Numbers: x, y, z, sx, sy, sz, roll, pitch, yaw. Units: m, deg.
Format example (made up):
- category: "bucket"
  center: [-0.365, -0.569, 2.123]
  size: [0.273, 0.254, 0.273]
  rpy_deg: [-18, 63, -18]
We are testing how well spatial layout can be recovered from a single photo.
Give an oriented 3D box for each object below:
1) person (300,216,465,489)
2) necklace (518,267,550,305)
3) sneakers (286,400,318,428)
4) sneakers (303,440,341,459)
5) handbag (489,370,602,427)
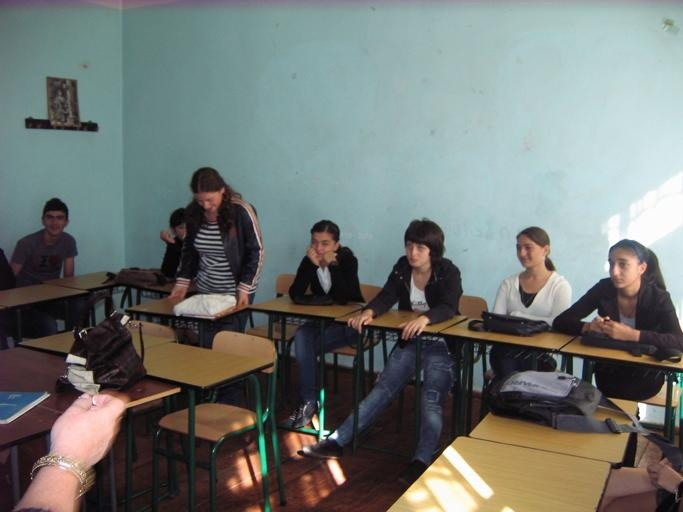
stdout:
- category: "person"
  center: [0.030, 0.476, 3.764]
  size: [1.029, 1.686, 1.470]
  rpy_deg: [5, 11, 41]
- category: "necklace"
  center: [1.258, 0.190, 3.688]
  size: [0.121, 0.227, 0.108]
  rpy_deg: [18, 16, 37]
- category: "sneakers"
  center: [-0.256, 1.047, 3.803]
  size: [0.096, 0.108, 0.264]
  rpy_deg: [11, 15, 23]
- category: "sneakers"
  center: [-0.108, 1.181, 3.455]
  size: [0.246, 0.100, 0.100]
  rpy_deg: [4, -3, 4]
- category: "handbag"
  center: [0.859, 0.596, 2.395]
  size: [0.284, 0.099, 0.267]
  rpy_deg: [2, 8, 31]
